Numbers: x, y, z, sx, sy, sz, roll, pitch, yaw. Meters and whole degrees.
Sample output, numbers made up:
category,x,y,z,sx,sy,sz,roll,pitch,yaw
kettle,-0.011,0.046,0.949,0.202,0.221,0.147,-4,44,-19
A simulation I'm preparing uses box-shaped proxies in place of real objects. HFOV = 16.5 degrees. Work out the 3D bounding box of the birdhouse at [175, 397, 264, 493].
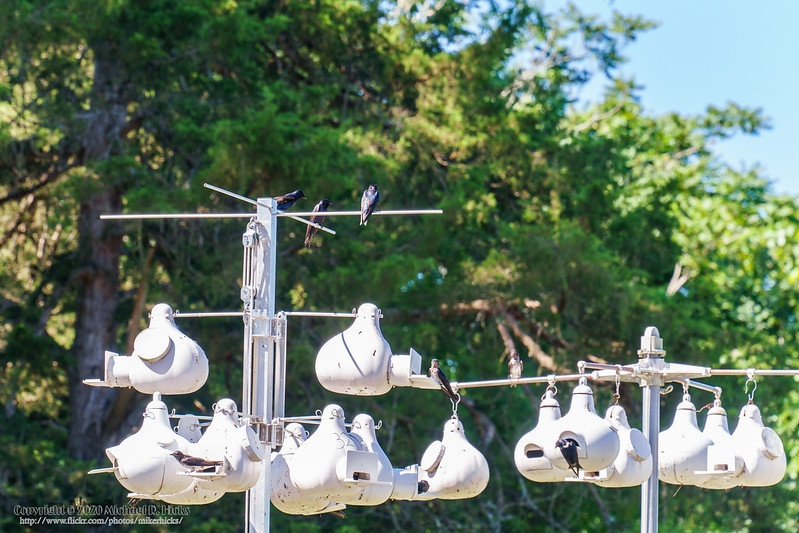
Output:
category,x,y,z,sx,sy,sz,roll,pitch,yaw
birdhouse,-3.254,3.392,52.768,1.380,1.700,0.555,3,-10,-3

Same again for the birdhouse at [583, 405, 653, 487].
category,x,y,z,sx,sy,sz,roll,pitch,yaw
birdhouse,4.368,3.447,53.431,1.306,1.948,1.383,-4,-8,-4
